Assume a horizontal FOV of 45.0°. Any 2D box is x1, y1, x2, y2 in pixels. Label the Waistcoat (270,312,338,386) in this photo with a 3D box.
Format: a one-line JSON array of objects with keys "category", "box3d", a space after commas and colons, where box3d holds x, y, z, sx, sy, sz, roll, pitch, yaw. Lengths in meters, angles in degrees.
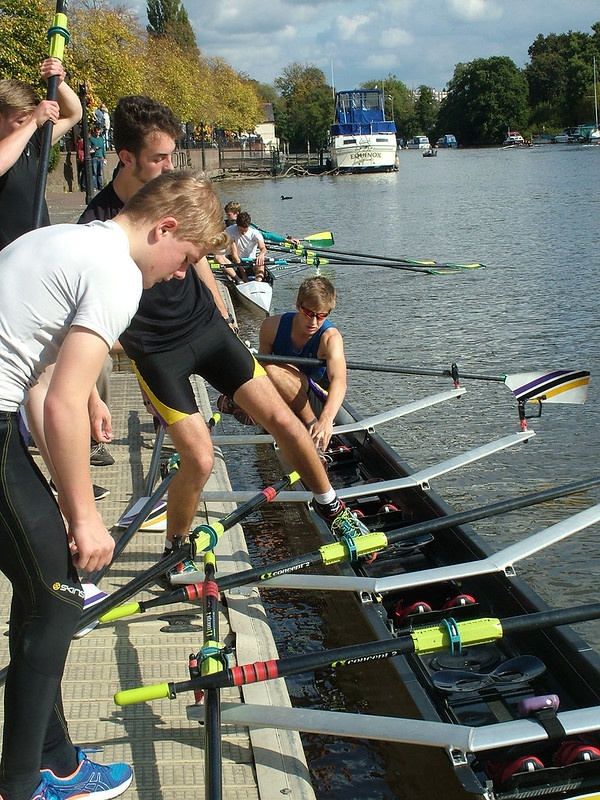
[{"category": "Waistcoat", "box3d": [0.010, -0.374, 5.274, 0.520, 0.601, 0.330, 6, 20, -5]}]
